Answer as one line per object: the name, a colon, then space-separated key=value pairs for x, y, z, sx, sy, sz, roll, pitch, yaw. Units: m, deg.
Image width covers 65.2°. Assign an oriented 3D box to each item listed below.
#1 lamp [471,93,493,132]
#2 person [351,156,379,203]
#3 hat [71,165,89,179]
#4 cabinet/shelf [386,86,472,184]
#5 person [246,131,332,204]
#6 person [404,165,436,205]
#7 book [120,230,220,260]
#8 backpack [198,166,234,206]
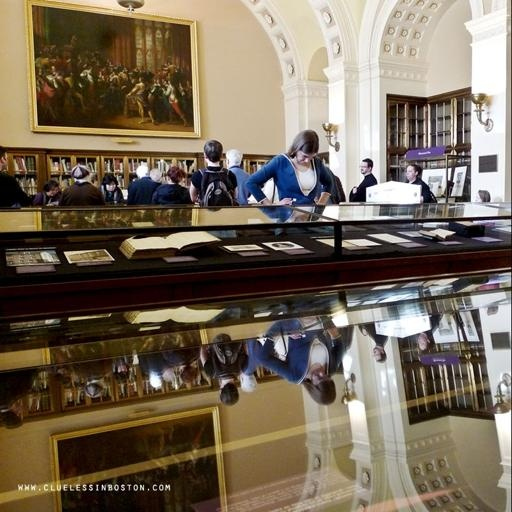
lamp: x=3.808 y=-2.438 z=6.844 sx=0.424 sy=0.652 sz=0.196 roll=-2 pitch=5 yaw=-7
person: x=1.806 y=-1.290 z=6.792 sx=0.428 sy=0.809 sz=1.489 roll=0 pitch=5 yaw=14
hat: x=-2.011 y=-0.962 z=4.599 sx=0.147 sy=0.174 sz=0.220 roll=-4 pitch=6 yaw=-28
cabinet/shelf: x=4.082 y=-2.935 z=9.706 sx=2.180 sy=2.139 sz=0.751 roll=-2 pitch=5 yaw=-9
person: x=0.292 y=-0.722 z=3.412 sx=0.573 sy=0.610 sz=0.742 roll=1 pitch=6 yaw=32
person: x=2.446 y=-1.085 z=5.980 sx=0.369 sy=0.583 sz=0.864 roll=0 pitch=5 yaw=23
book: x=-0.453 y=-0.062 z=2.151 sx=0.529 sy=0.127 sz=0.201 roll=-4 pitch=5 yaw=-22
backpack: x=-0.343 y=-0.639 z=3.746 sx=0.304 sy=0.397 sz=0.237 roll=-4 pitch=27 yaw=-1
